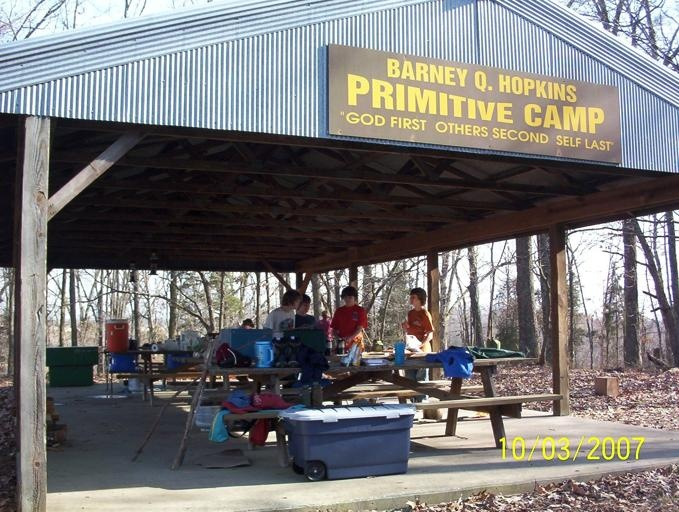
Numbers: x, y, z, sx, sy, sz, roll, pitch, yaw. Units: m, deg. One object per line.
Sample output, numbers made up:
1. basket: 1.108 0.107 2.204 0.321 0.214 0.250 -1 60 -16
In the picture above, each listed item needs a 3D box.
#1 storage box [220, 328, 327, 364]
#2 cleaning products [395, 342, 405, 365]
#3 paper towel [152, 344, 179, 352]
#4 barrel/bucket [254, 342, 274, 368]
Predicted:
1. storage box: -0.765 1.016 7.468 1.230 0.394 0.521 1 -8 -6
2. cleaning products: 0.717 1.154 7.804 0.113 0.227 0.157 0 -8 0
3. paper towel: -3.266 1.721 12.312 0.340 0.080 0.338 -2 -5 36
4. barrel/bucket: -0.819 1.087 7.235 0.205 0.274 0.113 1 -8 -11
